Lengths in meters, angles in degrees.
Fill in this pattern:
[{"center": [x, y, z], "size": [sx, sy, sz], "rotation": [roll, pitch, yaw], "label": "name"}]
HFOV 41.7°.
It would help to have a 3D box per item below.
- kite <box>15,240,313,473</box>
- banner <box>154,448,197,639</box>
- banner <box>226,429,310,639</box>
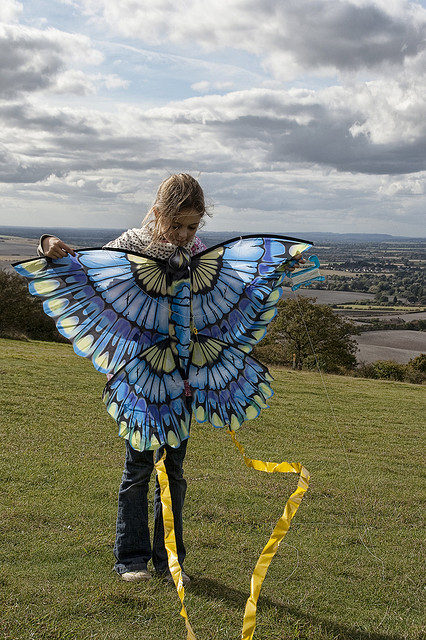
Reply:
[{"center": [-0.130, 0.124, 3.692], "size": [1.998, 1.296, 0.257], "rotation": [-8, 10, -30], "label": "kite"}, {"center": [-0.271, 1.216, 3.294], "size": [0.141, 0.166, 1.174], "rotation": [9, 42, -25], "label": "banner"}, {"center": [0.318, 1.258, 3.352], "size": [0.474, 1.072, 0.084], "rotation": [13, -24, -6], "label": "banner"}]
